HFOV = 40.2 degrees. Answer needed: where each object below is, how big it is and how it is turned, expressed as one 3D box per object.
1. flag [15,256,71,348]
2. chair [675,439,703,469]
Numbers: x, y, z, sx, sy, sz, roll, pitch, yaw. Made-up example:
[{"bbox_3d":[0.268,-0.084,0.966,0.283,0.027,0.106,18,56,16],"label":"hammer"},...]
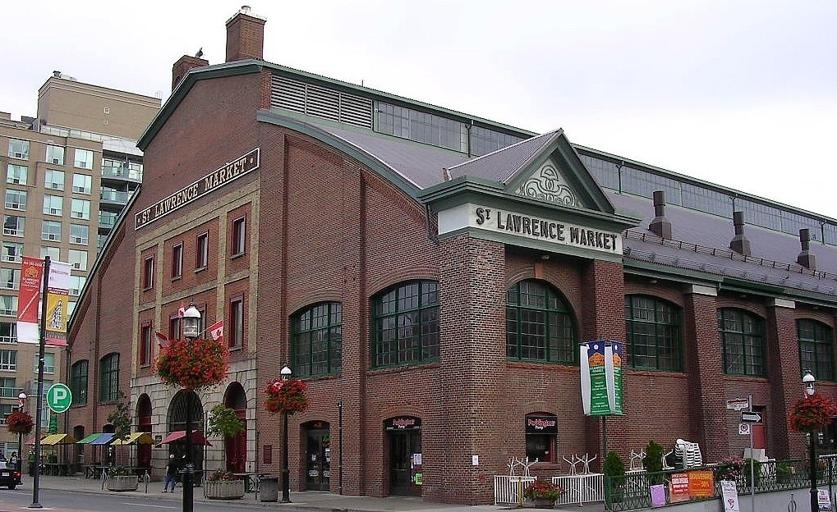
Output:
[{"bbox_3d":[-23.160,2.963,69.446,2.998,5.731,2.580,4,-2,18],"label":"flag"},{"bbox_3d":[17.232,12.756,73.688,1.450,1.782,1.017,-2,-20,3],"label":"chair"}]
